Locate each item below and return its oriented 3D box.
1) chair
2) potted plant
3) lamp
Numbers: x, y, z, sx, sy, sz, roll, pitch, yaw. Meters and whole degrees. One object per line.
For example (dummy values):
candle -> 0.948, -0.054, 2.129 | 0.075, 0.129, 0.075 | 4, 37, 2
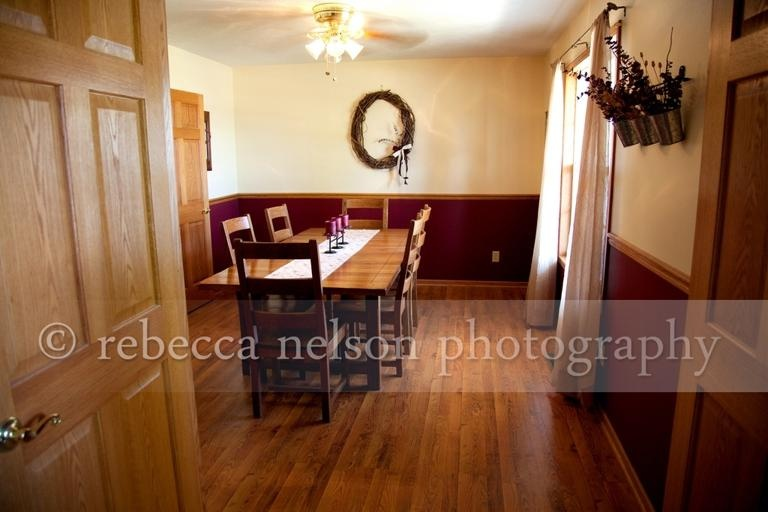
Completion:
chair -> -0.357, 0.342, 3.705 | 1.148, 1.186, 1.576 | 1, 11, 20
potted plant -> 1.237, -0.806, 2.484 | 0.330, 0.542, 0.595 | -2, 10, 0
lamp -> -0.385, -1.761, 4.040 | 0.430, 0.362, 0.431 | -4, 10, -8
